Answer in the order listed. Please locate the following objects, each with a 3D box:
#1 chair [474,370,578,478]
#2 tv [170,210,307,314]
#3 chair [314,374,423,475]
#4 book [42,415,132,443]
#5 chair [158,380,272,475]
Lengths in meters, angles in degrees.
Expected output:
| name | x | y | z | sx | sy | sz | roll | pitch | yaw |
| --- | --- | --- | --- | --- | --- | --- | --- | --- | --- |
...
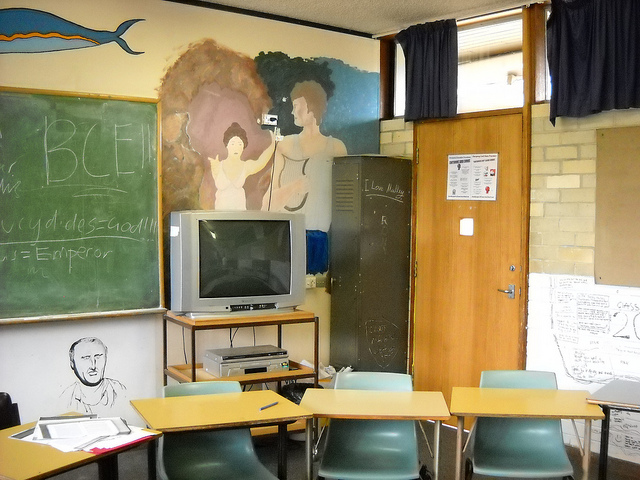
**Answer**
| name | x | y | z | sx | sy | sz | roll | pitch | yaw |
| --- | --- | --- | --- | --- | --- | --- | --- | --- | --- |
| chair | 1.218 | 1.146 | 3.527 | 0.624 | 0.691 | 0.726 | 1 | -8 | 5 |
| tv | -0.667 | 0.188 | 4.458 | 1.085 | 0.771 | 0.587 | -1 | -6 | -26 |
| chair | 0.321 | 1.031 | 3.451 | 0.664 | 0.681 | 0.640 | 1 | -6 | 5 |
| book | -1.144 | 0.925 | 2.609 | 0.420 | 0.030 | 0.253 | -1 | -3 | -19 |
| chair | -0.635 | 1.095 | 3.102 | 0.588 | 0.478 | 0.360 | -1 | -2 | -20 |
